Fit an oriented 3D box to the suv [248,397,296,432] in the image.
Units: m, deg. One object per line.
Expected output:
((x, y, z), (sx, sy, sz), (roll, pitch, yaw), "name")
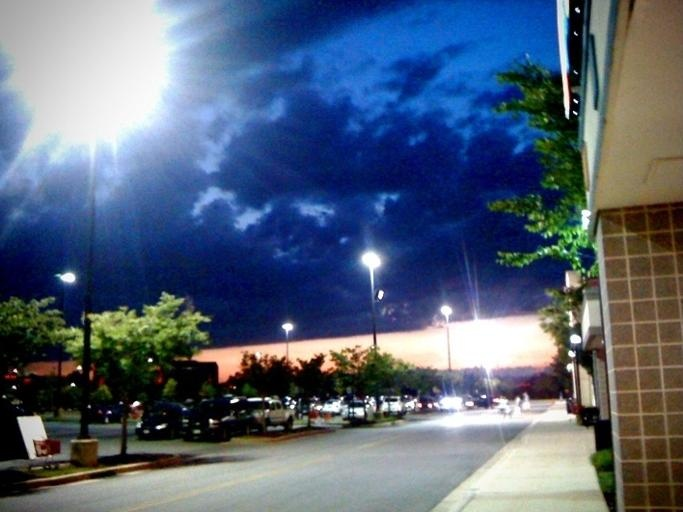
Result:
((-4.396, 9.236, 35.260), (1.751, 1.589, 3.521), (-5, -23, 12), "suv")

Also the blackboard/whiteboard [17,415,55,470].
((-9.290, 5.595, 18.404), (0.883, 2.032, 1.148), (1, -3, -18), "blackboard/whiteboard")
